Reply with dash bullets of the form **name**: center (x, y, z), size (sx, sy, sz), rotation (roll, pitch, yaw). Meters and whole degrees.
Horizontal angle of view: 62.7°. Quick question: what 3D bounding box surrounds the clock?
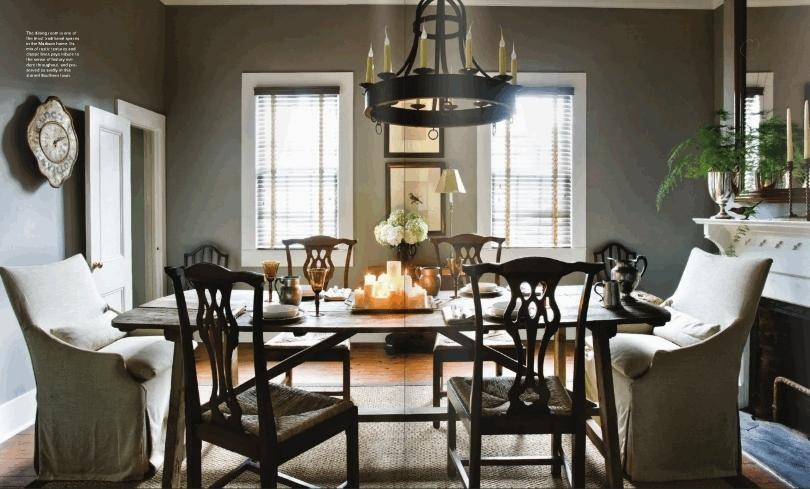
- **clock**: center (-2.671, -0.781, 5.049), size (0.052, 0.679, 0.427), rotation (2, 8, 24)

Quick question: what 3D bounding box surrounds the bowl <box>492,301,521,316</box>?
- **bowl**: center (0.640, 0.407, 4.281), size (0.128, 0.048, 0.124), rotation (0, 0, 0)

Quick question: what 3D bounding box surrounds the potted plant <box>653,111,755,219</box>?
- **potted plant**: center (2.533, -0.624, 5.507), size (0.912, 0.733, 0.996), rotation (2, -4, -13)

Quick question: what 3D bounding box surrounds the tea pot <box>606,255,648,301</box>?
- **tea pot**: center (1.621, 0.239, 4.900), size (0.351, 0.371, 0.225), rotation (0, 2, 8)

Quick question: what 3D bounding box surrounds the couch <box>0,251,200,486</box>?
- **couch**: center (-2.358, 0.836, 5.367), size (1.317, 2.011, 1.601), rotation (0, -1, -2)

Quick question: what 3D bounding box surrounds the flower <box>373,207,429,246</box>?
- **flower**: center (-0.031, -0.126, 5.413), size (0.330, 0.238, 0.422), rotation (0, 0, 26)

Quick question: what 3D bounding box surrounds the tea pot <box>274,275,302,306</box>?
- **tea pot**: center (-0.782, 0.309, 4.518), size (0.207, 0.193, 0.151), rotation (0, 2, -17)

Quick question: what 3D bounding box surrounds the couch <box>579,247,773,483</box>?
- **couch**: center (2.148, 0.923, 5.396), size (1.353, 2.190, 1.628), rotation (2, -5, 4)

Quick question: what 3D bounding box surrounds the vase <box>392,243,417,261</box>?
- **vase**: center (-0.001, 0.058, 5.463), size (0.193, 0.174, 0.139), rotation (0, -6, -4)

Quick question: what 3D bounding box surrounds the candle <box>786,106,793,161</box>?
- **candle**: center (2.661, -0.760, 4.600), size (0.058, 0.375, 0.201), rotation (3, 9, 29)

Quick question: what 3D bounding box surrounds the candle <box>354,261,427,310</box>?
- **candle**: center (-0.105, 0.302, 4.432), size (0.376, 0.226, 0.371), rotation (0, -4, -2)

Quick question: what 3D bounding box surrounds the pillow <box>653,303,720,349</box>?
- **pillow**: center (1.895, 0.570, 4.476), size (0.204, 0.222, 0.494), rotation (16, -3, -23)

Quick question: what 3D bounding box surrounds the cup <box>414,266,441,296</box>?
- **cup**: center (0.167, 0.258, 4.705), size (0.202, 0.200, 0.153), rotation (-1, 0, 30)
